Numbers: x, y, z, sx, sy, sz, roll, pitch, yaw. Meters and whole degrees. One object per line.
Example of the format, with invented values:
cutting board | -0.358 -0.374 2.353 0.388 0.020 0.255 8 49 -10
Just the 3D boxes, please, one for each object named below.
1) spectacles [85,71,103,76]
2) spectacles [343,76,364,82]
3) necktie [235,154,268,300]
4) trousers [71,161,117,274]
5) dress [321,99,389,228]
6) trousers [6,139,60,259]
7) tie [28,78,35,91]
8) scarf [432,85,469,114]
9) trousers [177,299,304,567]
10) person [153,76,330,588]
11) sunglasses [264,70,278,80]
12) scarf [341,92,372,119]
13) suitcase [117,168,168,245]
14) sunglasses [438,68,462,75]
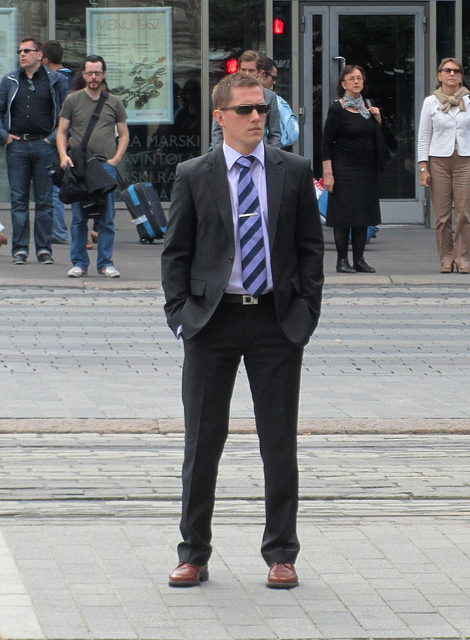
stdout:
spectacles | -1.162 -2.047 11.649 0.113 0.037 0.056 -2 8 -11
spectacles | 1.022 -2.080 12.116 0.150 0.048 0.095 -1 8 -5
necktie | 0.056 -0.327 4.909 0.099 0.476 0.130 -1 9 0
trousers | -1.209 -0.866 11.986 0.397 0.974 0.623 -2 8 -5
dress | 1.053 -1.362 12.333 0.566 1.059 0.233 0 9 3
trousers | -1.817 -1.091 12.729 0.458 1.094 0.611 -2 8 -9
tie | -1.811 -2.091 12.463 0.061 0.086 0.022 3 -10 -5
scarf | 1.911 -1.945 12.454 0.302 0.153 0.241 -2 28 7
trousers | 0.017 0.409 4.980 0.441 0.975 0.276 0 9 2
person | 0.029 0.033 4.939 0.577 1.766 0.393 -1 9 -1
sunglasses | 0.288 -1.931 11.142 0.082 0.023 0.080 38 5 13
scarf | 1.058 -1.882 12.255 0.181 0.249 0.103 -45 35 -19
suitcase | -1.007 -1.292 14.772 0.383 0.912 0.385 -22 3 14
sunglasses | 1.877 -2.189 12.349 0.169 0.057 0.126 1 8 8
